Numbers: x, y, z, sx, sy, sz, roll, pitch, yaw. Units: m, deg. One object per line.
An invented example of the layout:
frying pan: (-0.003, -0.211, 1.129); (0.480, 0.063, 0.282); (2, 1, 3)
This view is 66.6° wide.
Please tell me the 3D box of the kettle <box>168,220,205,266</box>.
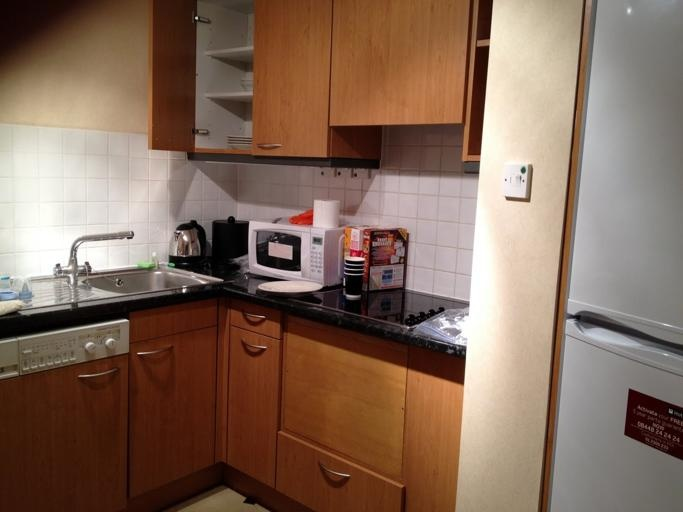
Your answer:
kettle: (-0.913, -0.087, 3.134); (0.150, 0.242, 0.231); (11, 14, 33)

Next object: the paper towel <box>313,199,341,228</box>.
paper towel: (-0.080, -0.225, 2.765); (0.120, 0.139, 0.137); (12, 16, 32)

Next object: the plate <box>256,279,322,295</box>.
plate: (-0.252, 0.157, 2.564); (0.252, 0.037, 0.273); (8, 13, 37)

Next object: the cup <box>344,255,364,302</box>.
cup: (0.059, 0.104, 2.491); (0.089, 0.193, 0.103); (-1, 9, -6)

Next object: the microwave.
microwave: (-0.259, -0.063, 2.721); (0.493, 0.344, 0.311); (6, 6, 41)

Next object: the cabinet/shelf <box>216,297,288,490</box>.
cabinet/shelf: (-0.558, 0.710, 2.718); (0.354, 0.697, 0.340); (12, -21, -33)

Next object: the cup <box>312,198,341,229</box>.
cup: (-0.082, -0.222, 2.695); (0.135, 0.143, 0.124); (2, 10, 0)

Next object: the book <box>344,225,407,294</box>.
book: (0.148, -0.012, 2.806); (0.308, 0.446, 0.293); (-2, 8, -26)
